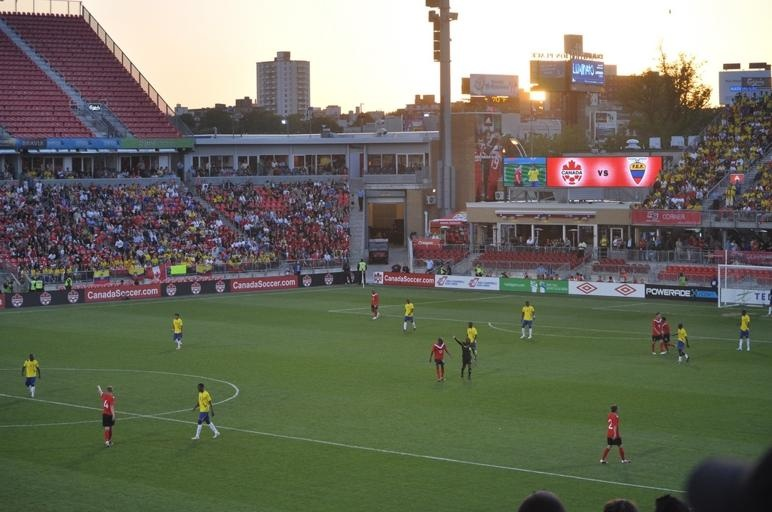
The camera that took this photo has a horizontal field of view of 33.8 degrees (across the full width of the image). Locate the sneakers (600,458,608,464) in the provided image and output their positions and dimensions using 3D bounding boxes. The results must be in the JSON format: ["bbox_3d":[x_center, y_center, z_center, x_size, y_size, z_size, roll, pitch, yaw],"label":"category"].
[{"bbox_3d":[13.028,12.335,76.319,0.246,0.303,0.664,4,5,12],"label":"sneakers"}]

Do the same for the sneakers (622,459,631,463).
[{"bbox_3d":[14.385,12.323,76.292,0.444,0.198,0.182,-3,4,18],"label":"sneakers"}]

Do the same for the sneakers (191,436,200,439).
[{"bbox_3d":[-11.929,11.378,79.288,0.382,0.284,0.173,0,2,17],"label":"sneakers"}]
